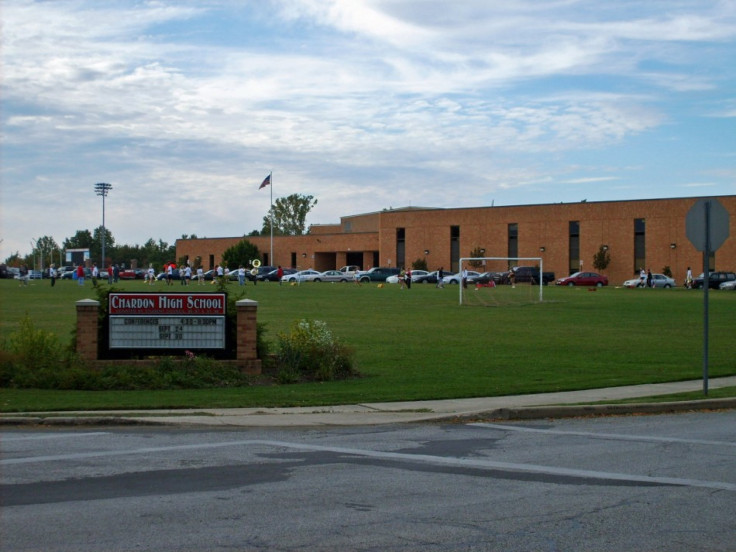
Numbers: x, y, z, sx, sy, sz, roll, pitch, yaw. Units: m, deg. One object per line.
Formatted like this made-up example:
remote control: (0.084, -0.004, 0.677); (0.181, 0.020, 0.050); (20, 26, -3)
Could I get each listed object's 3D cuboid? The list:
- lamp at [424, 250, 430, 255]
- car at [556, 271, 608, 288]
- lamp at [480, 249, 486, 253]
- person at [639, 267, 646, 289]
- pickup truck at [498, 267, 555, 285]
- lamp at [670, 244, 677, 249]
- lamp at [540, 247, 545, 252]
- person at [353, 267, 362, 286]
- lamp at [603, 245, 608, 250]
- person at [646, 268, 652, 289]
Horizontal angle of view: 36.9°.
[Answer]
lamp: (5.166, -2.119, 97.086); (0.435, 0.395, 0.113); (-6, 9, 22)
car: (15.688, 0.102, 79.214); (3.200, 0.958, 1.387); (2, -2, -8)
lamp: (9.716, -2.154, 93.102); (0.394, 0.421, 0.402); (-3, -1, -30)
person: (17.841, 0.226, 71.688); (0.431, 1.108, 2.079); (-3, -1, 12)
pickup truck: (11.377, -0.244, 81.351); (3.311, 1.320, 1.796); (1, 0, -7)
lamp: (22.380, -2.194, 81.119); (0.200, 0.485, 0.553); (-3, -1, -39)
lamp: (14.148, -2.212, 89.362); (0.146, 0.466, 0.634); (-3, -1, -33)
person: (-0.760, -0.032, 80.411); (0.892, 1.066, 0.343); (1, -10, 3)
lamp: (18.251, -2.207, 84.798); (0.414, 0.337, 0.200); (-3, -1, -8)
person: (18.264, 0.204, 71.772); (0.420, 1.147, 2.457); (-3, -1, 14)
